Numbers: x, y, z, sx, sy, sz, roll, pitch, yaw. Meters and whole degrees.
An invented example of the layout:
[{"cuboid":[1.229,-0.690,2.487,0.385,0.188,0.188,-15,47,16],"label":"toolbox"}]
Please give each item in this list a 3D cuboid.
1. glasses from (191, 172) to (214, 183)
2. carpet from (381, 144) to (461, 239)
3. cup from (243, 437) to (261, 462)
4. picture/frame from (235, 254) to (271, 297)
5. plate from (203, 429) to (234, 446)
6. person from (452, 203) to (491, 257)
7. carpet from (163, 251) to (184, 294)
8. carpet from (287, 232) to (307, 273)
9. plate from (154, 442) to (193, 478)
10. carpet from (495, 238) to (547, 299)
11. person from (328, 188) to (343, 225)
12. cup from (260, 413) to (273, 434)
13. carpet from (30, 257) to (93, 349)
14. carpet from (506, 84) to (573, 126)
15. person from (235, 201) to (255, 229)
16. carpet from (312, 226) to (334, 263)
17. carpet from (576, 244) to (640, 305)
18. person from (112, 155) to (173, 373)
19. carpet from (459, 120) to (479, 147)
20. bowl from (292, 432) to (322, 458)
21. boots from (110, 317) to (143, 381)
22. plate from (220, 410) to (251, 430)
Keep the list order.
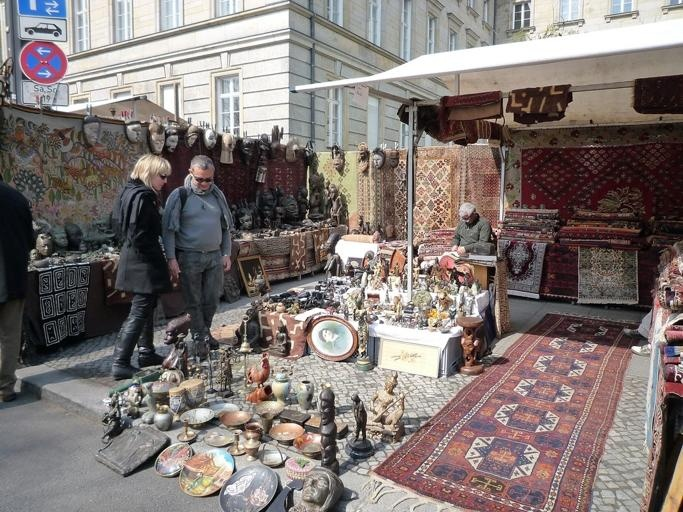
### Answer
[{"cuboid":[-1.743,-0.988,6.362,0.220,0.104,0.157,-1,12,-8],"label":"glasses"},{"cuboid":[2.060,-1.581,12.672,0.530,2.324,1.721,-9,15,-38],"label":"carpet"},{"cuboid":[-0.833,1.781,4.755,0.141,0.174,0.168,-2,12,-11],"label":"cup"},{"cuboid":[-1.654,0.317,9.357,0.057,0.883,0.769,-22,-9,29],"label":"picture/frame"},{"cuboid":[-1.197,1.786,5.025,0.294,0.060,0.238,6,13,22],"label":"plate"},{"cuboid":[2.116,-0.440,8.358,0.531,0.939,0.652,-15,19,-26],"label":"person"},{"cuboid":[-2.125,0.165,6.456,0.195,0.576,0.390,-14,15,-39],"label":"carpet"},{"cuboid":[-0.906,-0.096,10.777,0.161,0.810,0.646,4,12,17],"label":"carpet"},{"cuboid":[-1.556,1.885,4.738,0.243,0.055,0.257,0,16,1],"label":"plate"},{"cuboid":[3.356,0.225,9.440,1.024,1.265,0.088,3,3,40],"label":"carpet"},{"cuboid":[-0.140,-1.303,12.492,0.323,0.938,0.715,1,12,3],"label":"person"},{"cuboid":[-0.743,1.645,5.083,0.157,0.210,0.166,0,-3,0],"label":"cup"},{"cuboid":[-3.816,0.621,6.909,0.104,1.198,1.119,3,6,28],"label":"carpet"},{"cuboid":[2.489,-1.962,6.482,0.757,0.462,0.202,5,12,18],"label":"carpet"},{"cuboid":[-2.117,-0.929,11.162,0.433,0.587,0.830,-1,12,-9],"label":"person"},{"cuboid":[-0.437,-0.286,11.574,0.299,0.766,0.759,3,12,11],"label":"carpet"},{"cuboid":[4.824,0.306,9.150,0.972,1.205,0.076,-1,-3,26],"label":"carpet"},{"cuboid":[-2.409,0.098,6.112,0.762,2.628,0.508,-4,12,-20],"label":"person"},{"cuboid":[1.964,-1.912,7.782,0.121,0.380,0.360,2,13,22],"label":"carpet"},{"cuboid":[-0.329,1.750,4.853,0.240,0.155,0.358,-1,12,-7],"label":"bowl"},{"cuboid":[-2.554,1.071,6.055,0.375,0.756,0.197,0,11,-3],"label":"boots"},{"cuboid":[-1.074,1.668,5.230,0.305,0.119,0.310,2,12,5],"label":"plate"}]
